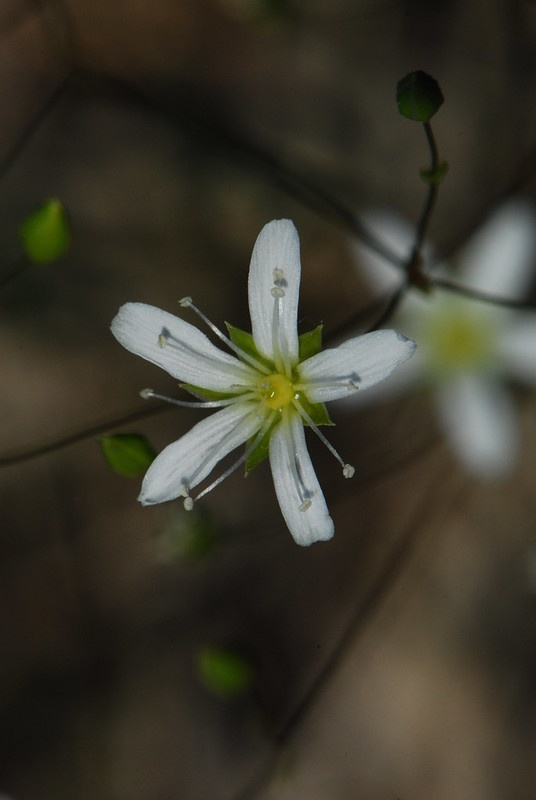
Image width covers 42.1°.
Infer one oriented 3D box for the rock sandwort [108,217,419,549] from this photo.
[{"bbox_3d":[0.038,-0.026,0.934,0.348,0.364,0.148,-43,-13,15],"label":"rock sandwort"}]
